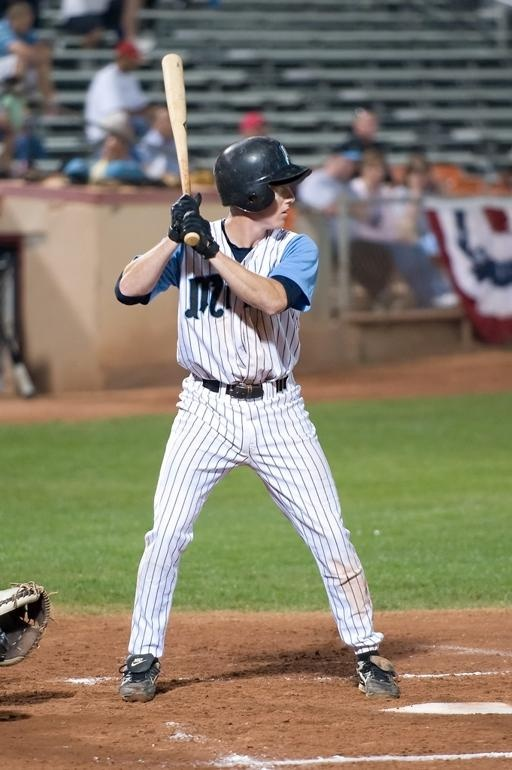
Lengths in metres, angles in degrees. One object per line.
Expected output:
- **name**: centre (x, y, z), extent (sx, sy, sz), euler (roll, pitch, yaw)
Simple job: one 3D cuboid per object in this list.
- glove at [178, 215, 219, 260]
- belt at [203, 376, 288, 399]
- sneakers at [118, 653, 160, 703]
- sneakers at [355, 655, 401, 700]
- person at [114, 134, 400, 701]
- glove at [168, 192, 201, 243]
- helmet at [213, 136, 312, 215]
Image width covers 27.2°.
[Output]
- **glove**: centre (-0.147, -0.373, 2.678), extent (0.080, 0.049, 0.124), euler (12, 32, -25)
- **belt**: centre (-0.031, 0.011, 2.867), extent (0.225, 0.050, 0.074), euler (-2, 6, -3)
- **sneakers**: centre (-0.320, 0.811, 2.972), extent (0.100, 0.097, 0.250), euler (-2, 4, 3)
- **sneakers**: centre (0.334, 0.805, 2.915), extent (0.072, 0.064, 0.157), euler (2, -9, -12)
- **person**: centre (-0.022, 0.108, 2.923), extent (0.787, 1.577, 0.453), euler (-1, 8, 8)
- **glove**: centre (-0.190, -0.437, 2.737), extent (0.088, 0.128, 0.053), euler (4, -15, -3)
- **helmet**: centre (0.028, -0.585, 2.916), extent (0.270, 0.176, 0.182), euler (-3, 26, 7)
